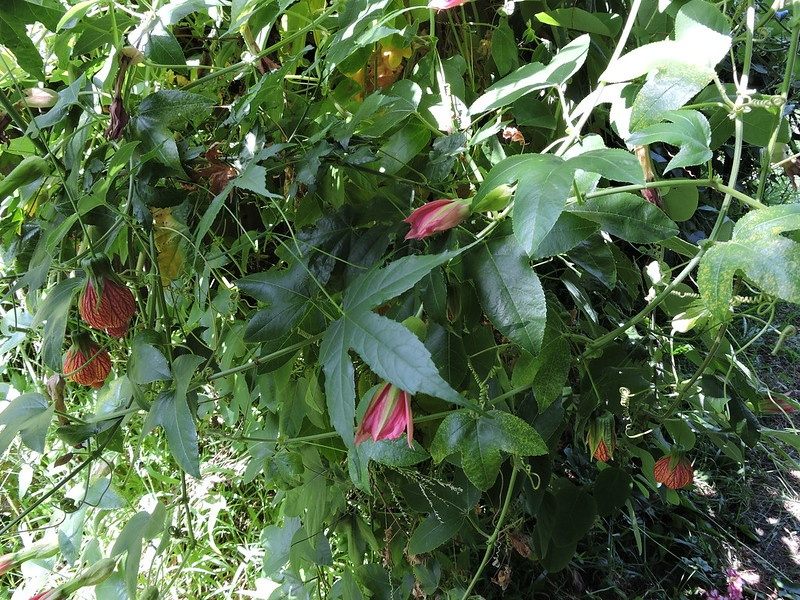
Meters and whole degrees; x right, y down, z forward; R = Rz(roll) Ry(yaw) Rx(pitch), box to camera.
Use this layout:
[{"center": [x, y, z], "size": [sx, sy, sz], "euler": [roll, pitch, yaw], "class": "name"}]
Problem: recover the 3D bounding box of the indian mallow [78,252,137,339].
[{"center": [-0.426, -0.003, 0.910], "size": [0.070, 0.122, 0.078], "euler": [-4, 13, 40], "class": "indian mallow"}]
